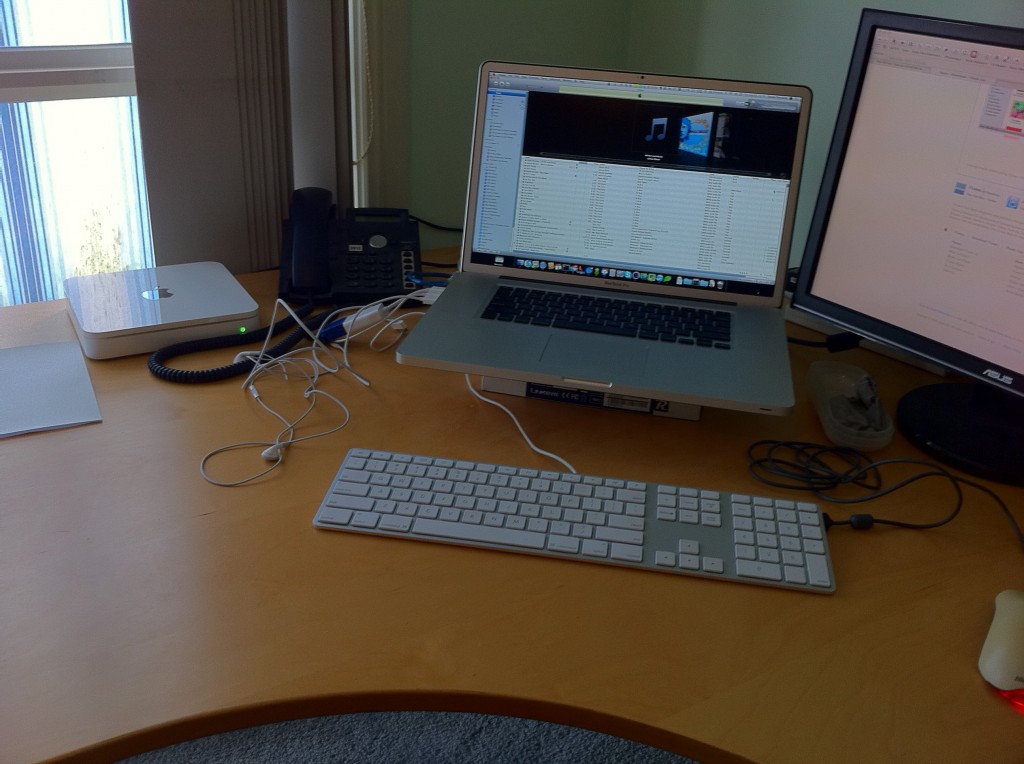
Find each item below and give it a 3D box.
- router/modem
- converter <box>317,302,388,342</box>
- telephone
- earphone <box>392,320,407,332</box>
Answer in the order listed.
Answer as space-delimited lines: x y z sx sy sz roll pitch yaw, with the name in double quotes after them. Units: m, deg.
-0.572 -0.137 1.305 0.199 0.048 0.202 -15 39 -27 "router/modem"
-0.262 -0.097 1.345 0.087 0.024 0.024 -29 65 -12 "converter"
-0.287 -0.219 1.425 0.212 0.093 0.227 -1 53 -9 "telephone"
-0.190 -0.095 1.364 0.017 0.013 0.018 -3 30 -8 "earphone"
